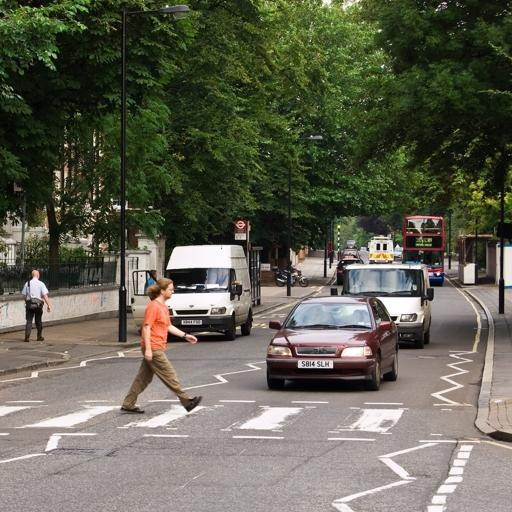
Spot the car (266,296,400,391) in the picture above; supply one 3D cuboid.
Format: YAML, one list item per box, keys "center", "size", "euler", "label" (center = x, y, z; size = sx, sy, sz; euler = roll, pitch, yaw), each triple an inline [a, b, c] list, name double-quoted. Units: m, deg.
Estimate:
- center: [1.188, 1.381, 13.169]
  size: [1.869, 1.407, 2.149]
  euler: [-1, 0, 10]
  label: "car"

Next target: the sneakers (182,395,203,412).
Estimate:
- center: [-0.791, 1.856, 10.345]
  size: [0.219, 0.205, 0.123]
  euler: [-1, 0, -8]
  label: "sneakers"

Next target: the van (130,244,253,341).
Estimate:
- center: [-1.293, 0.906, 22.973]
  size: [2.131, 1.667, 3.424]
  euler: [0, -3, 5]
  label: "van"

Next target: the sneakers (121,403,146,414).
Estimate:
- center: [-1.555, 1.952, 10.479]
  size: [0.307, 0.116, 0.115]
  euler: [2, 12, -6]
  label: "sneakers"

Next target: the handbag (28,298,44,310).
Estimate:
- center: [-5.666, 1.229, 21.236]
  size: [0.231, 0.302, 0.158]
  euler: [31, 16, -4]
  label: "handbag"

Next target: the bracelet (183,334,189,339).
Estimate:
- center: [-0.901, 1.037, 10.627]
  size: [0.054, 0.072, 0.026]
  euler: [1, -4, 1]
  label: "bracelet"

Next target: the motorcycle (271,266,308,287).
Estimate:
- center: [2.311, 1.397, 53.549]
  size: [2.207, 1.486, 1.153]
  euler: [1, 8, 13]
  label: "motorcycle"

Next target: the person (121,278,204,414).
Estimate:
- center: [-1.249, 1.153, 10.657]
  size: [1.011, 1.744, 1.261]
  euler: [-1, 0, -7]
  label: "person"

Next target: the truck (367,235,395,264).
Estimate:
- center: [8.366, -0.462, 55.228]
  size: [1.539, 1.771, 1.803]
  euler: [-1, 0, 7]
  label: "truck"
